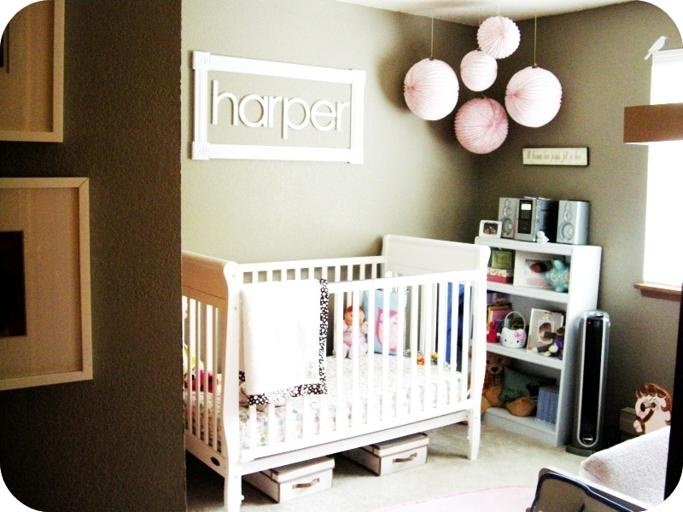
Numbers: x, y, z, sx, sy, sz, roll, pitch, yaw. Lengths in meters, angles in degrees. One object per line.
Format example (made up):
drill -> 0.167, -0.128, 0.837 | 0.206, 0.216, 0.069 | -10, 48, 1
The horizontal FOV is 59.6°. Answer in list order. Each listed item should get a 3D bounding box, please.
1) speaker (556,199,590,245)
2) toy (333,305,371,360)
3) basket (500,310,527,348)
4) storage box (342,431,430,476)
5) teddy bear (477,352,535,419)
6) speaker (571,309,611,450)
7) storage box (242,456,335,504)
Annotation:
speaker -> 1.468, -0.215, 3.807 | 0.154, 0.274, 0.249 | 8, 10, 40
toy -> 0.074, 0.457, 3.630 | 0.194, 0.299, 0.092 | 1, -1, 1
basket -> 1.139, 0.485, 3.987 | 0.158, 0.251, 0.152 | 6, 4, 21
storage box -> 0.257, 1.060, 3.333 | 0.214, 0.104, 0.275 | -3, 5, -42
teddy bear -> 1.074, 0.864, 4.112 | 0.386, 0.421, 0.332 | -4, -5, 6
speaker -> 1.484, 0.754, 3.585 | 0.149, 0.818, 0.201 | 8, 10, 41
storage box -> -0.272, 1.109, 2.966 | 0.263, 0.114, 0.268 | -5, 9, -38
